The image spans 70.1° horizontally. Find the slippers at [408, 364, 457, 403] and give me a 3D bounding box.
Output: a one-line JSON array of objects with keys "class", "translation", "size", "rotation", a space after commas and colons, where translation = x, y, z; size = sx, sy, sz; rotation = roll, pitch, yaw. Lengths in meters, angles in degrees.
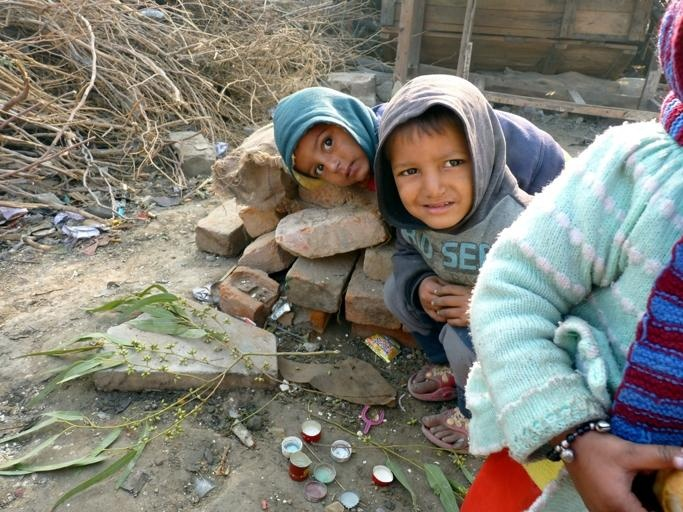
[{"class": "slippers", "translation": [0.547, 0.652, 2.607], "size": [0.394, 0.107, 0.193], "rotation": [-5, 14, 1]}]
